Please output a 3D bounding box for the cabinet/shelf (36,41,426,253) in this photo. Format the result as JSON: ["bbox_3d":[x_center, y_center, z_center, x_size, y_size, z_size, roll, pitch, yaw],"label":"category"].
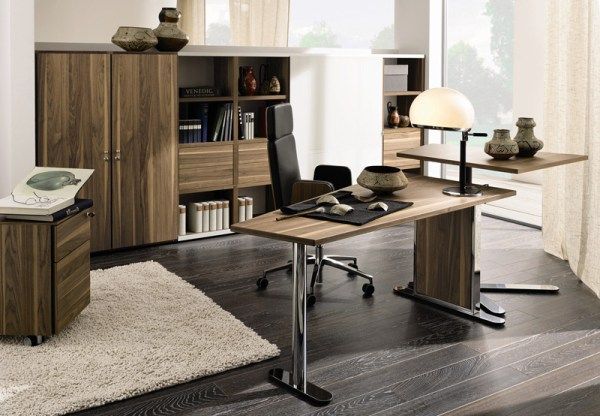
[{"bbox_3d":[-0.610,-0.817,6.702,4.901,1.989,0.638,-7,18,-31],"label":"cabinet/shelf"}]

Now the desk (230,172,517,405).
[{"bbox_3d":[0.444,0.520,3.810,1.722,1.198,0.717,-14,15,-33],"label":"desk"}]

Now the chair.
[{"bbox_3d":[0.222,-0.097,5.063,1.122,1.631,1.077,11,17,34],"label":"chair"}]

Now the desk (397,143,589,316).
[{"bbox_3d":[1.493,0.384,4.736,1.154,0.774,1.023,-4,6,-8],"label":"desk"}]

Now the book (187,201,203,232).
[{"bbox_3d":[-1.195,0.106,6.284,0.157,0.394,0.306,-4,10,-28],"label":"book"}]
